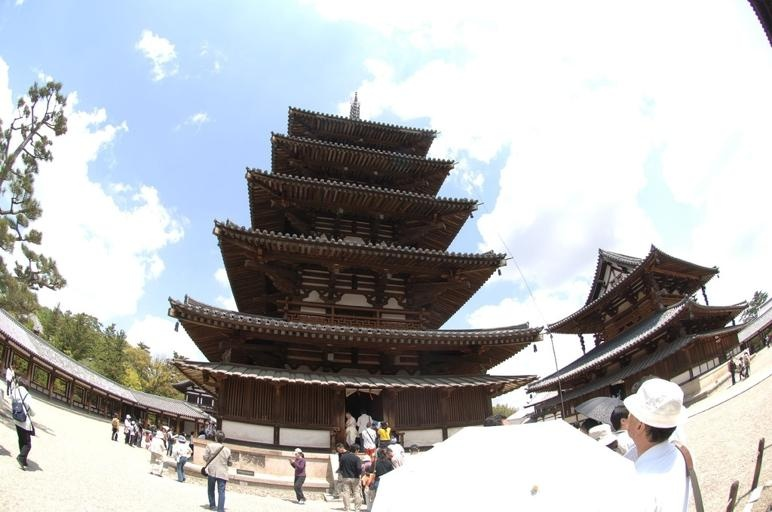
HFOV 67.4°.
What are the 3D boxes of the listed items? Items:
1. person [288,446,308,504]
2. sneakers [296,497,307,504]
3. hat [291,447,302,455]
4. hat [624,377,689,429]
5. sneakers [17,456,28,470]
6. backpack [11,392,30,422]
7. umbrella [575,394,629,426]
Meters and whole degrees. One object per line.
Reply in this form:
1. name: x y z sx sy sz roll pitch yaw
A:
1. person: -3.336 8.289 21.983 0.687 1.858 1.440 5 13 -8
2. sneakers: -3.185 9.102 21.629 0.249 0.087 0.241 12 31 -7
3. hat: -3.430 7.462 22.113 0.481 0.193 0.354 -10 -23 34
4. hat: 6.677 3.637 14.303 1.277 0.677 1.336 -18 29 -30
5. sneakers: -13.216 7.506 21.047 0.205 0.149 0.481 20 -41 57
6. backpack: -12.882 5.397 20.389 0.489 0.909 0.268 0 15 -26
7. umbrella: 7.148 5.083 19.331 1.683 0.687 1.656 1 -28 -4
